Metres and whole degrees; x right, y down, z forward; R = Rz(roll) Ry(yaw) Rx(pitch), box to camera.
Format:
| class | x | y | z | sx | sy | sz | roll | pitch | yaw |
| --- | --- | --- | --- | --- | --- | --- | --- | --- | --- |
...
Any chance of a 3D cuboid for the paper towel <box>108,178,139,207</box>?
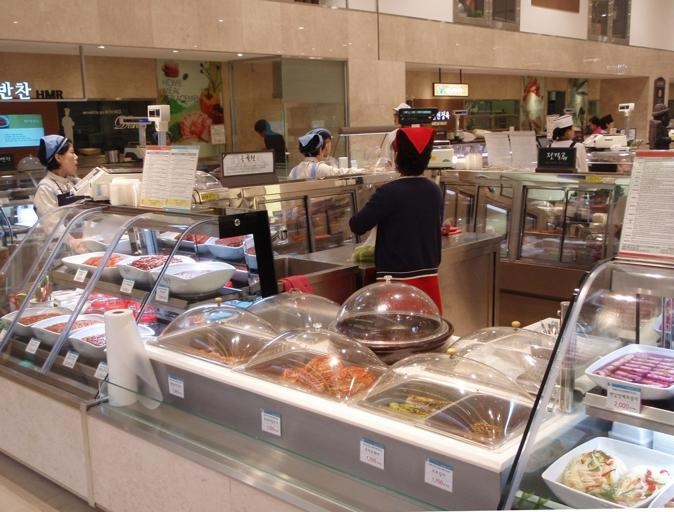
| class | x | y | z | sx | sy | sz | roll | pitch | yaw |
| --- | --- | --- | --- | --- | --- | --- | --- | --- | --- |
| paper towel | -1.132 | -0.345 | 2.596 | 0.200 | 0.127 | 0.152 | 8 | 22 | 7 |

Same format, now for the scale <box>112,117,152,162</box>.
| class | x | y | z | sx | sy | sz | roll | pitch | yaw |
| --- | --- | --- | --- | --- | --- | --- | --- | --- | --- |
| scale | -1.456 | -0.842 | 3.455 | 0.321 | 0.303 | 0.108 | 6 | 6 | 6 |

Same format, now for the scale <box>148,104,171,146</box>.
| class | x | y | z | sx | sy | sz | roll | pitch | yaw |
| --- | --- | --- | --- | --- | --- | --- | --- | --- | --- |
| scale | -1.004 | -0.743 | 2.712 | 0.109 | 0.244 | 0.618 | -8 | 14 | -19 |

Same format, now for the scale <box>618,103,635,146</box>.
| class | x | y | z | sx | sy | sz | roll | pitch | yaw |
| --- | --- | --- | --- | --- | --- | --- | --- | --- | --- |
| scale | 5.653 | -2.543 | 9.272 | 0.263 | 0.744 | 0.298 | -16 | 17 | -35 |

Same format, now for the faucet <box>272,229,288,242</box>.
| class | x | y | z | sx | sy | sz | roll | pitch | yaw |
| --- | --- | --- | --- | --- | --- | --- | --- | --- | --- |
| faucet | -0.429 | -0.152 | 3.599 | 0.080 | 0.087 | 0.113 | 3 | -3 | 24 |

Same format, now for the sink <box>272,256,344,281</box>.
| class | x | y | z | sx | sy | sz | roll | pitch | yaw |
| --- | --- | --- | --- | --- | --- | --- | --- | --- | --- |
| sink | -0.262 | 0.077 | 3.443 | 0.322 | 0.199 | 0.221 | -12 | 17 | -39 |
